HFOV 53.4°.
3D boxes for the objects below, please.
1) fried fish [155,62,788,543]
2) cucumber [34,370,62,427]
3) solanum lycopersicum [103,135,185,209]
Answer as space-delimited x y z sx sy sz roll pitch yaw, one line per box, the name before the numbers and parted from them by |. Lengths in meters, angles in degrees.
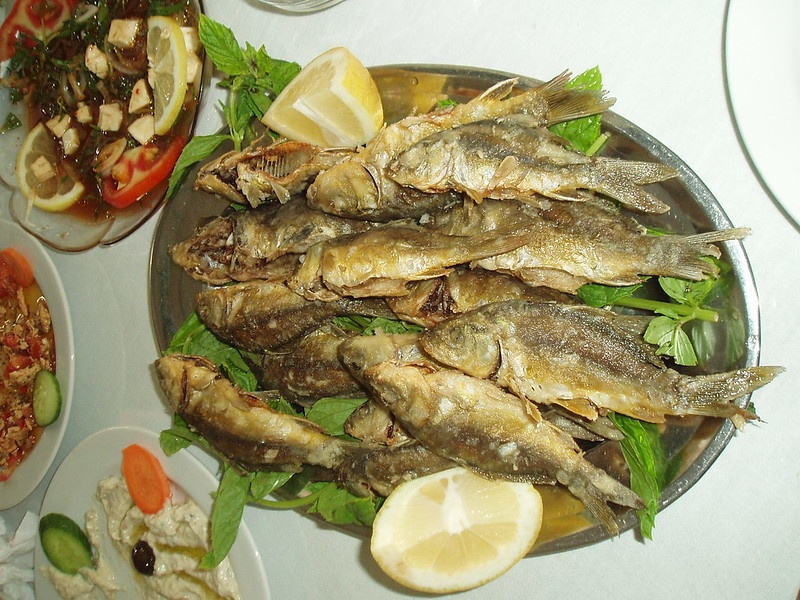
fried fish | 0.169 0.064 4.473 3.452 2.646 0.673 11 -7 18
cucumber | -2.446 0.696 5.502 0.241 0.364 0.083 3 5 20
solanum lycopersicum | -1.665 -0.826 5.162 0.316 0.457 0.552 21 38 32
